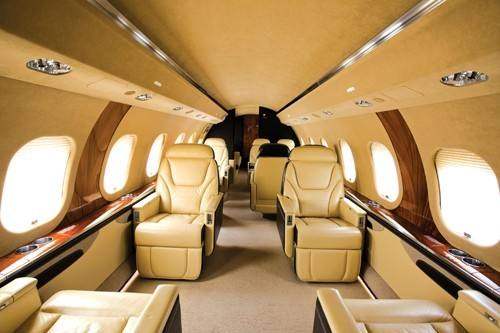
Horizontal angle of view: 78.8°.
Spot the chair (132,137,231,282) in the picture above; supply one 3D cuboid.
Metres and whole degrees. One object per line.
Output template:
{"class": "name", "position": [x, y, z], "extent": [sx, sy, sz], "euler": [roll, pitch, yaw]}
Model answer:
{"class": "chair", "position": [-0.978, 0.589, 4.266], "extent": [1.118, 1.826, 0.984], "euler": [5, 4, 0]}
